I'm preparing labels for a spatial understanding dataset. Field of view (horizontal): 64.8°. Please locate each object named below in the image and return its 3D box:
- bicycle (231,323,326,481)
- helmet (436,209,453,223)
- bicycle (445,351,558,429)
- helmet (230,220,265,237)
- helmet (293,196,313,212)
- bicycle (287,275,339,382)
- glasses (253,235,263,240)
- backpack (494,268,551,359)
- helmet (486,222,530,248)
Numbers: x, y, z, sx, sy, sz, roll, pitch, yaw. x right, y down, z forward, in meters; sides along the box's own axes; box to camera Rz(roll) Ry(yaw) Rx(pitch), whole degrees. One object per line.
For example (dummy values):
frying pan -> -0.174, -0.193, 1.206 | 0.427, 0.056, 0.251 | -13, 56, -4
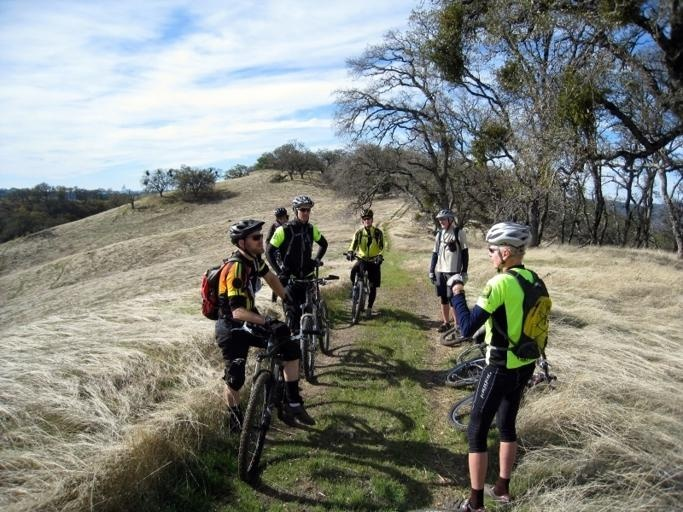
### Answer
bicycle -> -1.184, 2.200, 8.273 | 0.448, 2.149, 1.336 | 1, 5, 14
helmet -> 2.082, -0.811, 10.878 | 0.247, 0.265, 0.354 | 0, -2, 1
bicycle -> 2.488, 2.129, 9.290 | 1.103, 0.962, 1.886 | 1, 7, 10
helmet -> -1.439, -0.436, 8.141 | 0.429, 0.182, 0.302 | -8, 9, 7
helmet -> -0.740, -0.987, 10.205 | 0.277, 0.317, 0.329 | 0, 10, -11
bicycle -> -0.541, 1.337, 10.228 | 0.902, 1.195, 1.886 | -6, 3, 5
glasses -> -1.267, -0.285, 8.149 | 0.082, 0.089, 0.031 | 6, 3, -13
backpack -> 2.473, 0.796, 7.188 | 0.718, 1.211, 0.348 | -3, 5, -29
helmet -> 2.260, -0.278, 7.223 | 0.470, 0.291, 0.359 | -2, 12, 13
